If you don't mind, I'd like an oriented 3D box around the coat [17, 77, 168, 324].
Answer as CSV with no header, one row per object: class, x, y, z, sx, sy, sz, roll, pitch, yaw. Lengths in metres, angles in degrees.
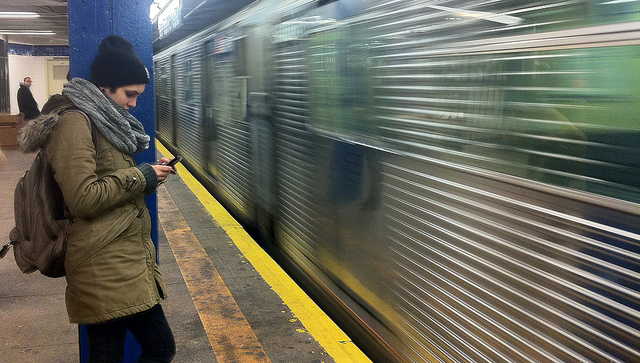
coat,-1.485,0.106,2.257,1.037,1.246,0.770,-3,-5,-17
